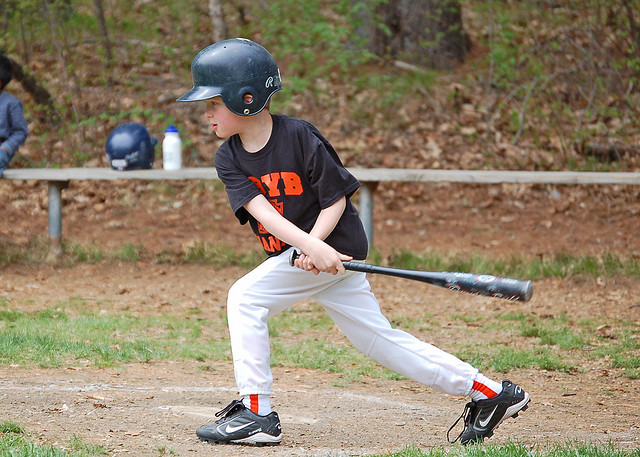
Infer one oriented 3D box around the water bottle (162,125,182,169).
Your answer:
[{"bbox_3d":[-1.498,-0.828,11.590,0.183,0.448,0.171,2,3,0],"label":"water bottle"}]
